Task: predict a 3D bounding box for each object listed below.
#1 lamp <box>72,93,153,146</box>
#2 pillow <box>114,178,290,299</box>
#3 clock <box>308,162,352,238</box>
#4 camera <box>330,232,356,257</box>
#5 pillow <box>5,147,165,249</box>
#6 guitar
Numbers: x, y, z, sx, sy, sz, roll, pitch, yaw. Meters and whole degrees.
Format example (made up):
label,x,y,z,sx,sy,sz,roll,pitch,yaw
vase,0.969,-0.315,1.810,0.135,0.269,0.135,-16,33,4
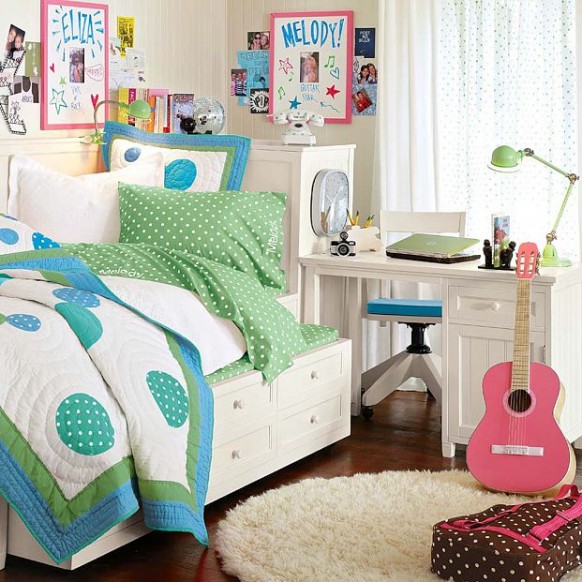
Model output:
label,x,y,z,sx,sy,sz,roll,pitch,yaw
lamp,-0.903,-0.875,2.831,0.345,0.241,0.150,-3,-2,-22
pillow,-0.390,-0.222,2.275,0.706,0.488,0.250,5,-17,-13
clock,0.196,-0.423,2.674,0.033,0.296,0.284,13,19,35
camera,0.245,-0.209,2.537,0.104,0.114,0.107,1,2,4
pillow,-0.881,-0.390,2.349,0.465,0.373,0.134,9,-19,4
guitar,0.761,0.247,1.825,0.335,0.845,0.249,0,-1,-17
